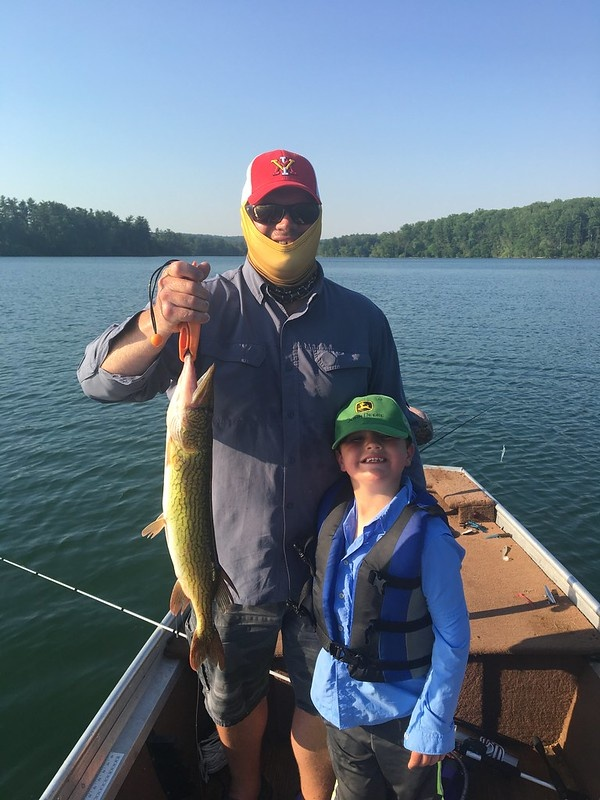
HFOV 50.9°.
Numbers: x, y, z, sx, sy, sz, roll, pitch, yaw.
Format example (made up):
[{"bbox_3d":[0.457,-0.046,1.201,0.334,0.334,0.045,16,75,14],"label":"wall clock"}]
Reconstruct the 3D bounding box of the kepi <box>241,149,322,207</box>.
[{"bbox_3d":[-0.106,-1.255,3.551,0.414,0.319,0.562,-4,12,-8],"label":"kepi"}]

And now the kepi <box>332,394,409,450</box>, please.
[{"bbox_3d":[0.365,0.094,3.397,0.402,0.264,0.511,-4,4,-1],"label":"kepi"}]

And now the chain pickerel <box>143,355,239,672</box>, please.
[{"bbox_3d":[-0.475,0.541,3.249,0.360,1.873,0.545,2,-4,-31],"label":"chain pickerel"}]

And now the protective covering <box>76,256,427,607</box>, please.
[{"bbox_3d":[-0.129,0.472,3.536,1.811,3.002,0.962,-5,15,-21],"label":"protective covering"}]
